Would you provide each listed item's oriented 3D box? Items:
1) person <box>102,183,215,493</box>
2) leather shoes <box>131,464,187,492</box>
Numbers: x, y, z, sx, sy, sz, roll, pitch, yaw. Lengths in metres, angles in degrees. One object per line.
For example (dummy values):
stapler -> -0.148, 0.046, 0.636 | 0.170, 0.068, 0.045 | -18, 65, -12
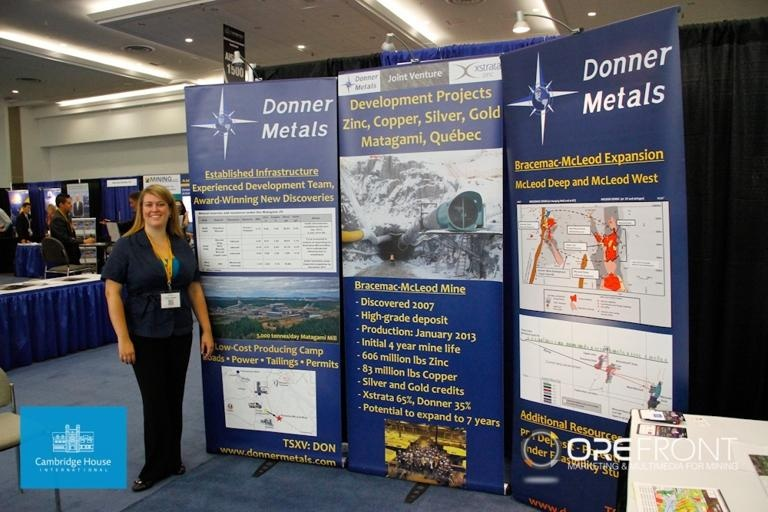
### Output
person -> -1.635, 0.558, 3.878 | 0.647, 2.097, 0.388 | -11, 16, -40
leather shoes -> -1.626, 1.597, 3.926 | 0.121, 0.139, 0.364 | -7, -7, 41
